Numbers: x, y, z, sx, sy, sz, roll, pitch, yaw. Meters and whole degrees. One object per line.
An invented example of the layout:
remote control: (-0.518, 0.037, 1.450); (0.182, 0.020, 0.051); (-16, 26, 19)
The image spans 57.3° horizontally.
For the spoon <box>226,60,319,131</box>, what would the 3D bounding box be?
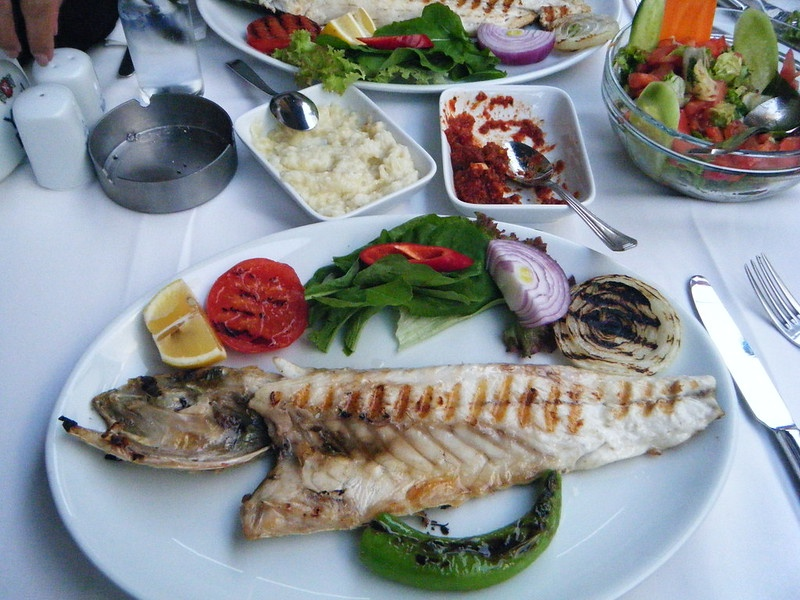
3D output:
spoon: (-0.742, -1.180, 4.196); (0.256, 0.098, 0.846); (-34, 58, -14)
